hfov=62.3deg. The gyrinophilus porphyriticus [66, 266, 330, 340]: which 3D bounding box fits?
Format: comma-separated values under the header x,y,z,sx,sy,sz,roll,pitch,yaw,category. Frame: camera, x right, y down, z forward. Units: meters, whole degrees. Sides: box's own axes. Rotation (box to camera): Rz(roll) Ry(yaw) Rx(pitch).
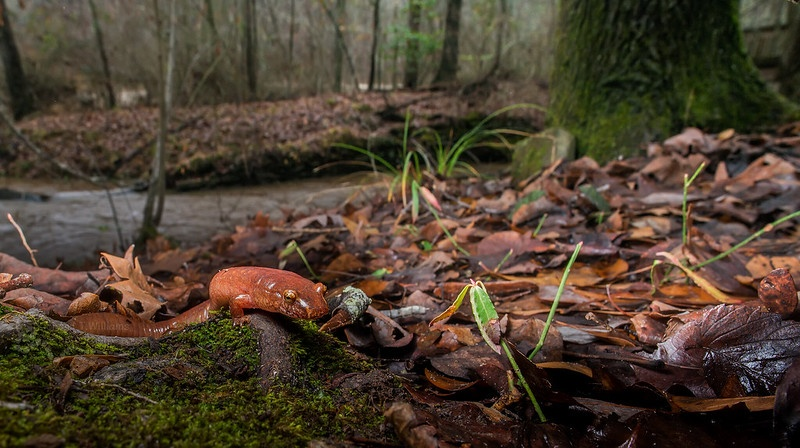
x,y,z,sx,sy,sz,roll,pitch,yaw,category
-1.649,0.620,5.567,2.114,0.500,0.750,1,2,4,gyrinophilus porphyriticus
